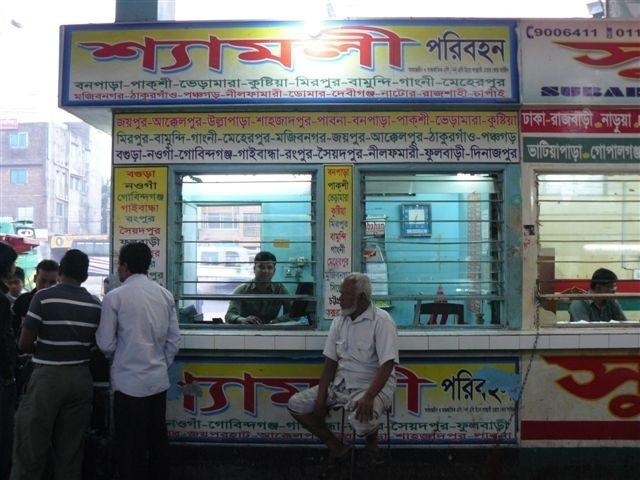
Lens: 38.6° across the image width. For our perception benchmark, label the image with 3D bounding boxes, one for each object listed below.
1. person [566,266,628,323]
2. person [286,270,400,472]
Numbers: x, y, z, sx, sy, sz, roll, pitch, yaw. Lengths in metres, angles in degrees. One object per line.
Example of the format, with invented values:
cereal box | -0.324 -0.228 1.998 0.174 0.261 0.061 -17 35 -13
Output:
person | 2.562 0.533 8.771 0.555 0.688 0.460 5 -17 -11
person | 0.219 1.105 7.939 0.892 1.622 0.428 0 0 1
